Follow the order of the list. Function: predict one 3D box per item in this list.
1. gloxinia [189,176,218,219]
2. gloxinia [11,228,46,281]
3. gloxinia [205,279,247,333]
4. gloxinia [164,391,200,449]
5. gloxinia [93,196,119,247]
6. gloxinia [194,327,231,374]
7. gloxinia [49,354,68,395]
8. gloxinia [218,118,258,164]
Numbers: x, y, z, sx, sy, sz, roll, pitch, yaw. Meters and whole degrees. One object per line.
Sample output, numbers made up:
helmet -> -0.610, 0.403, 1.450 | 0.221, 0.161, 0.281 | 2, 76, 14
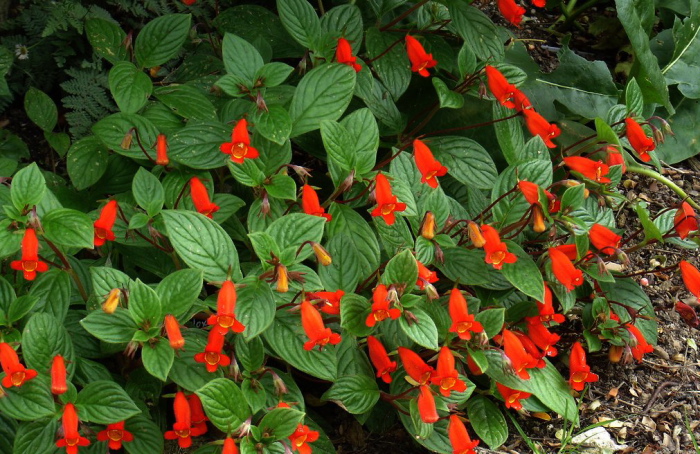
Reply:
gloxinia -> -0.948, -0.182, 4.009 | 0.151, 0.123, 0.292 | -26, 94, -28
gloxinia -> -1.900, 0.185, 3.673 | 0.197, 0.138, 0.337 | 4, 72, -36
gloxinia -> -0.712, 0.441, 3.630 | 0.181, 0.174, 0.355 | 9, 47, -14
gloxinia -> -1.038, 1.209, 3.936 | 0.208, 0.420, 0.193 | -9, 9, -37
gloxinia -> -1.536, -0.037, 3.887 | 0.104, 0.164, 0.290 | 1, 63, 26
gloxinia -> -0.839, 0.727, 3.851 | 0.191, 0.203, 0.363 | 12, 22, -12
gloxinia -> -1.695, 0.869, 3.604 | 0.118, 0.240, 0.079 | 1, -4, -41
gloxinia -> -0.712, -0.531, 3.919 | 0.210, 0.264, 0.269 | -11, 46, -12
